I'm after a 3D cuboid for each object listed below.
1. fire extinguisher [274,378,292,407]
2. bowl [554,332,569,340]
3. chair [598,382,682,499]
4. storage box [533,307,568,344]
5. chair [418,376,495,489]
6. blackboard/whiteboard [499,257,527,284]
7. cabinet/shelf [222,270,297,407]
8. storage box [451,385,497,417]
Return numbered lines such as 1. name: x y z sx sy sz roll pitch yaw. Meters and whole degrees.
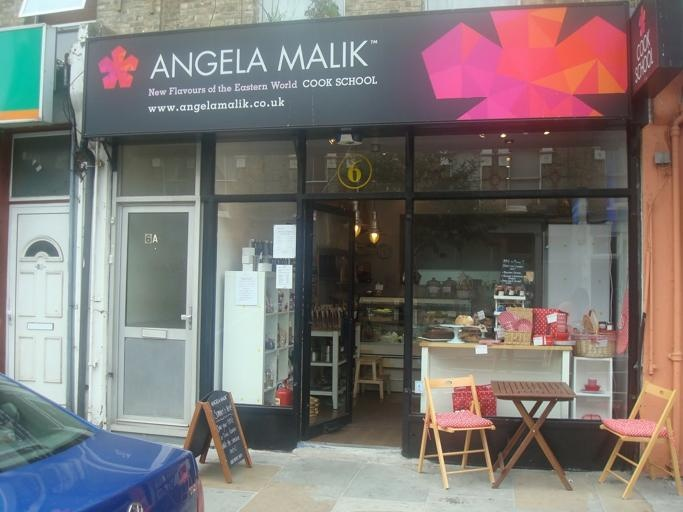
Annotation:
1. fire extinguisher: -0.712 1.681 7.892 0.201 0.308 0.145 0 11 3
2. bowl: 2.554 0.936 7.440 0.094 0.079 0.102 1 -3 0
3. chair: 3.156 1.897 6.666 0.873 1.113 0.809 1 11 11
4. storage box: 2.445 0.808 7.489 0.399 0.339 0.215 1 11 10
5. chair: 1.265 1.893 7.082 0.852 1.083 1.121 2 11 13
6. blackboard/whiteboard: 2.107 0.184 7.853 0.308 0.313 0.144 4 12 23
7. cabinet/shelf: -1.061 1.008 7.981 0.888 1.578 0.439 1 11 9
8. storage box: 1.533 1.678 7.451 0.551 0.433 0.325 -1 0 24
